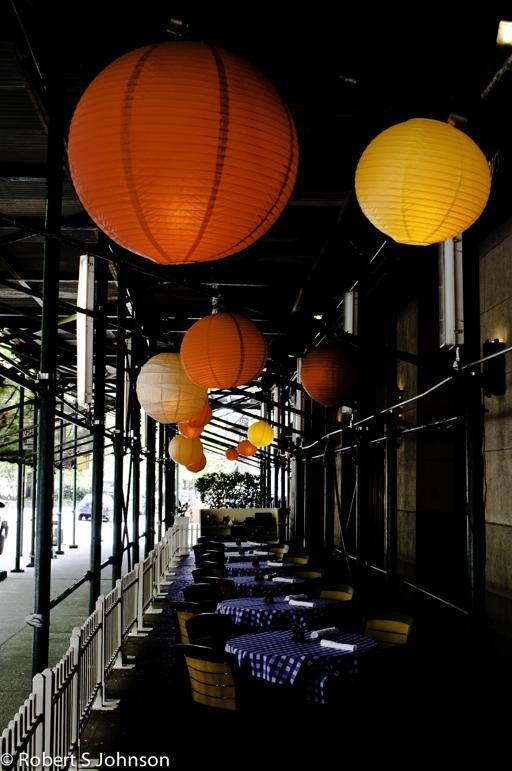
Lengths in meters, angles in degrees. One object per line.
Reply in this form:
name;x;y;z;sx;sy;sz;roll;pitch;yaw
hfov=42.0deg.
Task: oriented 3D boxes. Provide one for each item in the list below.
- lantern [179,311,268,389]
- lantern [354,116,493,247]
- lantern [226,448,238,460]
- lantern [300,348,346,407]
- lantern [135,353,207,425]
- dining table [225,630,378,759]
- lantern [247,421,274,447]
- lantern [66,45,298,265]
lantern;-0.197;-0.198;4.620;0.489;0.681;0.512;-3;-2;9
lantern;0.606;-0.750;2.721;0.503;0.578;0.471;7;-9;3
lantern;-0.869;2.409;23.466;0.421;0.483;0.435;4;-43;2
lantern;0.530;-0.052;5.381;0.326;0.460;0.361;0;-2;3
lantern;-0.703;0.014;5.589;0.562;0.654;0.557;-1;1;-36
dining table;0.317;2.241;4.927;0.861;0.665;0.860;9;-15;-24
lantern;0.042;0.962;12.919;0.507;0.598;0.525;-8;-11;31
lantern;-0.209;-0.611;1.985;0.655;0.570;0.599;-18;1;-28
